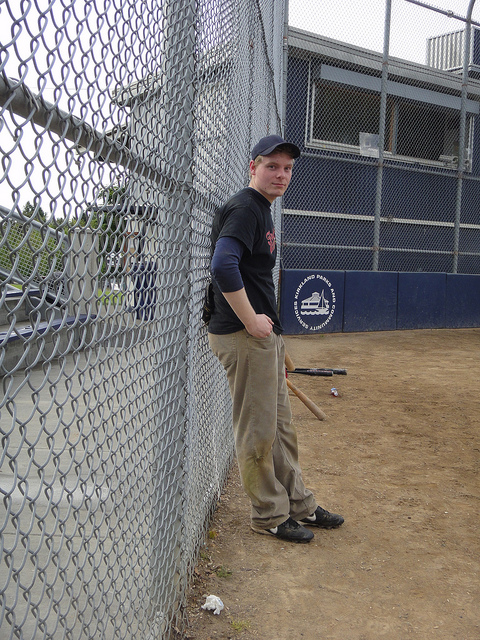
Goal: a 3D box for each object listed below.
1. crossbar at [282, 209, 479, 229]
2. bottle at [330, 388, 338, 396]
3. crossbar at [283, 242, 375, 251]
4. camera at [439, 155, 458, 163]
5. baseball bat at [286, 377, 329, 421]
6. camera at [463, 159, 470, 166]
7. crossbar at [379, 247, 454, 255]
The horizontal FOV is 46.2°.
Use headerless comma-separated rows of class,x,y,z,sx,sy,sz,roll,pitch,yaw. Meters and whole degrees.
crossbar,3.364,-2.316,12.910,5.579,0.289,0.526,0,6,-31
bottle,0.939,0.725,5.667,0.039,0.028,0.079,-7,19,3
crossbar,1.855,-1.549,11.871,2.279,0.167,0.470,1,6,-26
camera,5.397,-4.196,14.647,0.493,0.201,0.169,1,5,-21
baseball bat,0.600,0.711,5.000,0.068,0.546,0.086,-32,30,6
camera,5.892,-4.126,14.708,0.133,0.176,0.076,6,6,33
crossbar,4.103,-1.635,13.129,2.218,0.144,0.539,0,7,-31
